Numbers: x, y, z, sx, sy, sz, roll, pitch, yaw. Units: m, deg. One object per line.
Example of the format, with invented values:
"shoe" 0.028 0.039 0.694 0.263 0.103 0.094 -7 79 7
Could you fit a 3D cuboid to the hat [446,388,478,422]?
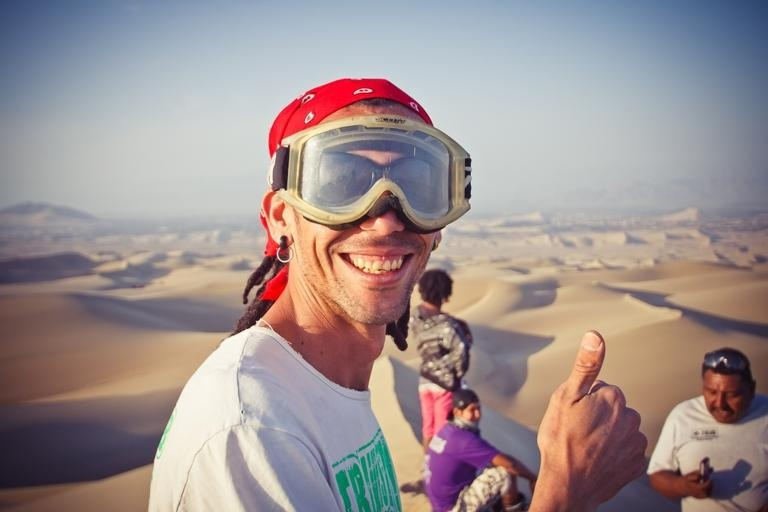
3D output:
"hat" 0.972 1.852 6.593 0.401 0.404 0.304 6 7 2
